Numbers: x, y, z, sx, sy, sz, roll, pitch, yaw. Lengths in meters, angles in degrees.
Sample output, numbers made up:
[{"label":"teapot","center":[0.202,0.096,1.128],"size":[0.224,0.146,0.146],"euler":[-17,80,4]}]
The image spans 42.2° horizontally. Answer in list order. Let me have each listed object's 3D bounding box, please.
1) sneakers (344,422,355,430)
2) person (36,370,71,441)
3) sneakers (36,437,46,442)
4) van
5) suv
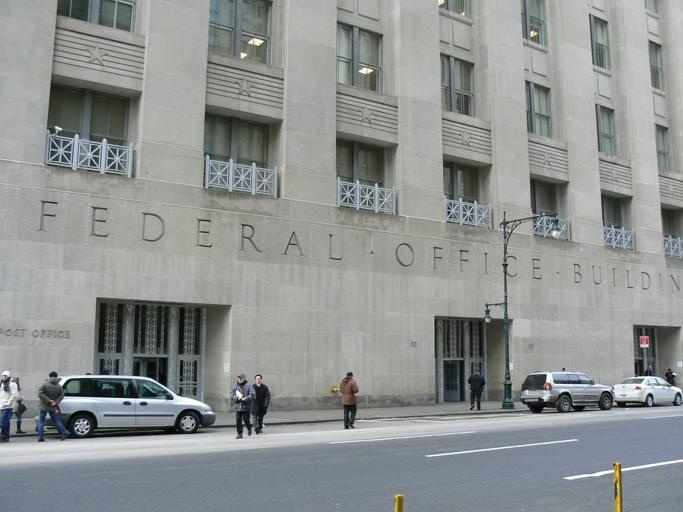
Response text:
[{"label":"sneakers","center":[0.345,6.557,34.066],"size":[0.154,0.217,0.462],"euler":[-3,-10,44]},{"label":"person","center":[-10.000,5.212,30.695],"size":[0.992,2.351,0.903],"euler":[0,1,-21]},{"label":"sneakers","center":[-10.353,6.325,30.525],"size":[0.199,0.219,0.129],"euler":[0,-8,4]},{"label":"van","center":[-7.704,5.413,32.342],"size":[4.797,1.821,2.238],"euler":[2,-10,-24]},{"label":"suv","center":[10.816,6.498,42.820],"size":[4.034,1.728,2.017],"euler":[2,-8,-29]}]
